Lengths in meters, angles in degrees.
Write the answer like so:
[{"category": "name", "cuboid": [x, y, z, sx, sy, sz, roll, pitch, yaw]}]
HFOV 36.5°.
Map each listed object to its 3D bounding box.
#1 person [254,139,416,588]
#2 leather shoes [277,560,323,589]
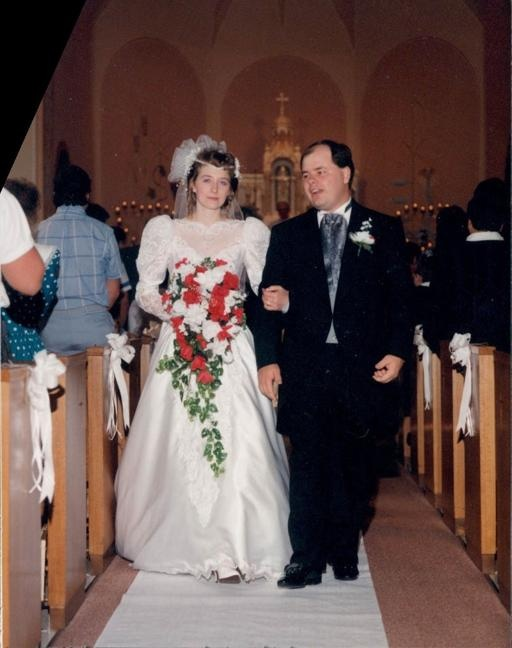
[{"category": "person", "cuboid": [0.287, 0.157, 2.996, 0.592, 1.716, 0.294, 1, 2, -1]}, {"category": "leather shoes", "cuboid": [0.173, 0.938, 2.909, 0.188, 0.102, 0.072, 13, -19, -34]}]
